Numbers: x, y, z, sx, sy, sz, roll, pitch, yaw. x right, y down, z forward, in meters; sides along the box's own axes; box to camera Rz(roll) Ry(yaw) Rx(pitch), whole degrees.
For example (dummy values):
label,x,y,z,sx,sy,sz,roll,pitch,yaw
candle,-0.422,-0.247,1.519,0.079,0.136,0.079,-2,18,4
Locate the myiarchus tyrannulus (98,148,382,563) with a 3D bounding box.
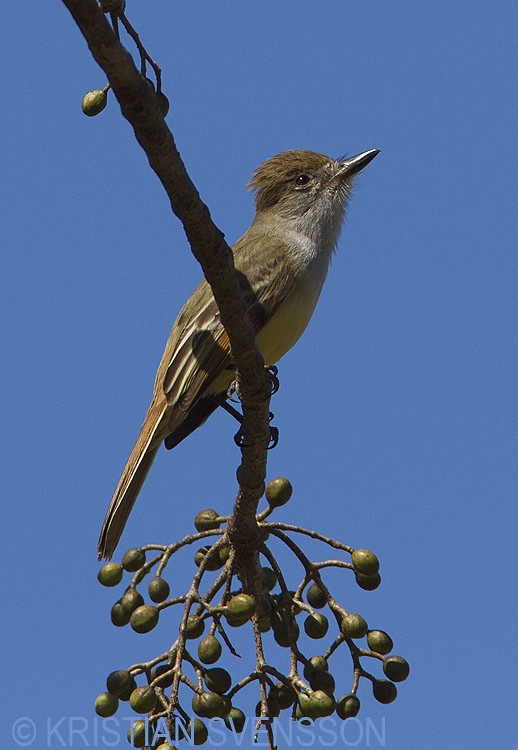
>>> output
label,x,y,z,sx,sy,sz,roll,pitch,yaw
myiarchus tyrannulus,-0.080,-0.056,5.267,0.983,1.542,0.495,-12,-37,-4
